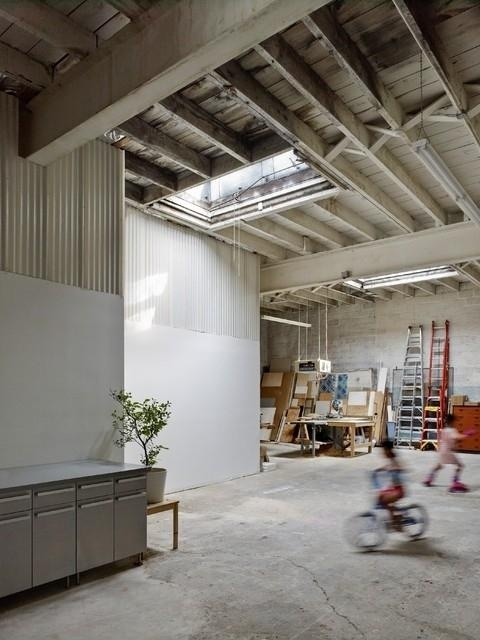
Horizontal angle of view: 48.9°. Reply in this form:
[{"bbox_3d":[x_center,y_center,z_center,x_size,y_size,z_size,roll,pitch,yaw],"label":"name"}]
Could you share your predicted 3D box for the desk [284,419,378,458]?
[{"bbox_3d":[2.331,2.680,12.414,1.414,0.631,1.202,0,-2,39],"label":"desk"}]
